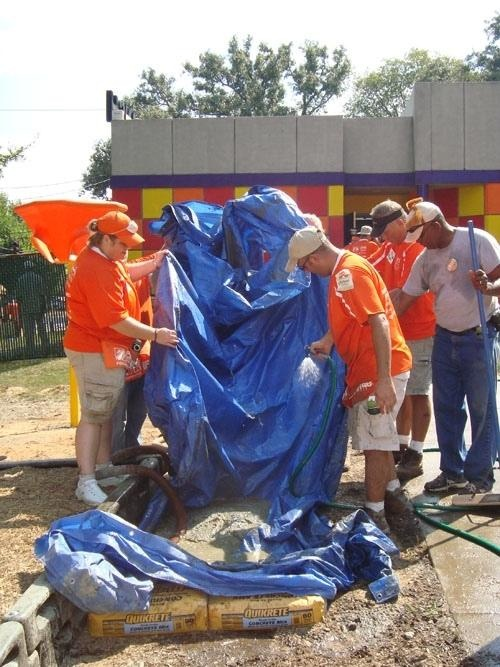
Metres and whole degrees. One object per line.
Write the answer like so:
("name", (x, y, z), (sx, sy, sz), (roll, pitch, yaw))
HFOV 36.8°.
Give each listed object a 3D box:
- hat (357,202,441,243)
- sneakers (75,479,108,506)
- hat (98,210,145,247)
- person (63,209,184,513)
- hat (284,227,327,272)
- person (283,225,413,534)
("hat", (0.867, -0.628, 4.339), (0.466, 0.247, 0.291), (-2, 7, -4))
("sneakers", (-0.843, 0.837, 4.018), (0.248, 0.116, 0.105), (6, 15, 42))
("hat", (-0.695, -0.546, 4.086), (0.255, 0.143, 0.154), (28, 29, -21))
("person", (-0.725, 0.114, 4.120), (0.568, 1.557, 1.055), (-4, 6, -14))
("hat", (0.272, -0.416, 3.722), (0.205, 0.207, 0.176), (-2, 6, 4))
("person", (0.513, 0.240, 3.849), (0.602, 1.579, 0.674), (-1, 6, 11))
